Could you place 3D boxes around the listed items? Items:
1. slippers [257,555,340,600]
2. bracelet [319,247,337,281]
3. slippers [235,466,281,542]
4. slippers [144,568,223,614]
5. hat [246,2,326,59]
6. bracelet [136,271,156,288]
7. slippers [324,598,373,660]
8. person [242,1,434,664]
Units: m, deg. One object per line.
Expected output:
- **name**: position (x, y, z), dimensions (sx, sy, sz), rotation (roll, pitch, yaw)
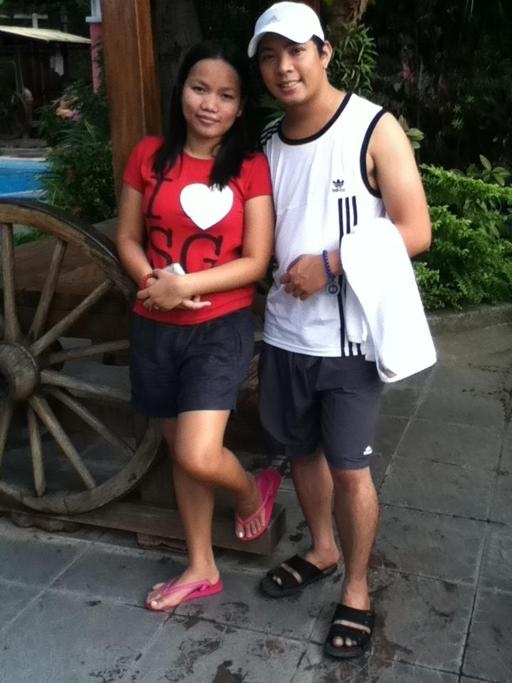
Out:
- **slippers**: position (0.148, 0.765, 1.979), dimensions (0.252, 0.074, 0.092), rotation (-12, 16, -25)
- **bracelet**: position (0.182, -0.190, 1.480), dimensions (0.020, 0.065, 0.052), rotation (-7, -5, 5)
- **slippers**: position (0.010, 0.553, 2.029), dimensions (0.115, 0.270, 0.078), rotation (22, 19, 28)
- **slippers**: position (-0.226, 0.792, 1.891), dimensions (0.202, 0.052, 0.092), rotation (-11, 13, -17)
- **hat**: position (0.065, -0.783, 1.458), dimensions (0.192, 0.118, 0.162), rotation (2, 13, 15)
- **bracelet**: position (-0.310, -0.177, 1.688), dimensions (0.061, 0.024, 0.044), rotation (-35, 9, -14)
- **slippers**: position (0.263, 0.815, 1.666), dimensions (0.077, 0.053, 0.188), rotation (-3, 11, 19)
- **person**: position (0.214, 0.004, 1.675), dimensions (0.350, 1.742, 0.466), rotation (-11, 16, -32)
